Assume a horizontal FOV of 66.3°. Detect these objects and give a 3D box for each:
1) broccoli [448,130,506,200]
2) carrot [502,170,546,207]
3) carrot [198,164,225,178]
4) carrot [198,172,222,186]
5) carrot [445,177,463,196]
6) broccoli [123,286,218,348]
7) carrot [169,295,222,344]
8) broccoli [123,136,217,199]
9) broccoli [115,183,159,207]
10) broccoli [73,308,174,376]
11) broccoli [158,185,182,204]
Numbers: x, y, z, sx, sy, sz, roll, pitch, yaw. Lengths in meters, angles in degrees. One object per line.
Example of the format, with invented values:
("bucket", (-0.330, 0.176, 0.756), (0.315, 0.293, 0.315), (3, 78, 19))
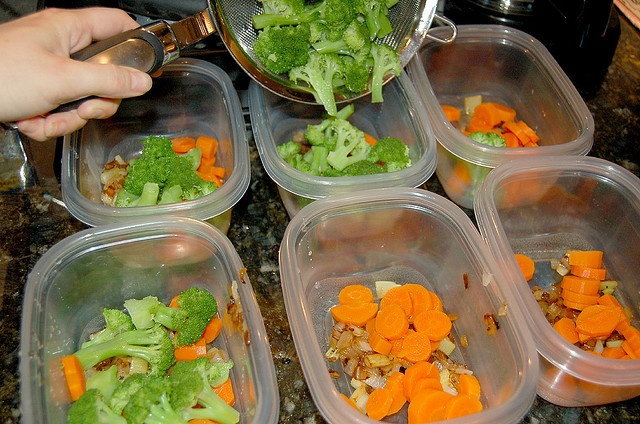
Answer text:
("broccoli", (0.765, -0.235, 2.445), (0.259, 0.230, 0.338), (4, 57, 1))
("carrot", (0.915, -0.102, 2.202), (0.174, 0.080, 0.159), (-30, 37, -10))
("carrot", (-0.531, -0.201, 2.388), (0.086, 0.069, 0.038), (-1, 79, 1))
("carrot", (-0.526, -0.160, 2.372), (0.076, 0.025, 0.081), (16, 30, -29))
("carrot", (0.639, -0.125, 2.329), (0.056, 0.072, 0.068), (-41, 112, -10))
("broccoli", (-0.597, 0.430, 1.984), (0.286, 0.137, 0.238), (7, 66, 8))
("carrot", (-0.506, 0.441, 2.018), (0.171, 0.186, 0.195), (-6, 78, 1))
("broccoli", (-0.686, -0.192, 2.166), (0.315, 0.133, 0.280), (39, 59, 23))
("broccoli", (-0.790, -0.062, 2.137), (0.135, 0.044, 0.159), (-10, 66, 22))
("broccoli", (-0.774, 0.552, 1.922), (0.369, 0.249, 0.180), (-6, 100, -20))
("broccoli", (-0.653, -0.072, 2.155), (0.086, 0.056, 0.080), (-8, 65, 0))
